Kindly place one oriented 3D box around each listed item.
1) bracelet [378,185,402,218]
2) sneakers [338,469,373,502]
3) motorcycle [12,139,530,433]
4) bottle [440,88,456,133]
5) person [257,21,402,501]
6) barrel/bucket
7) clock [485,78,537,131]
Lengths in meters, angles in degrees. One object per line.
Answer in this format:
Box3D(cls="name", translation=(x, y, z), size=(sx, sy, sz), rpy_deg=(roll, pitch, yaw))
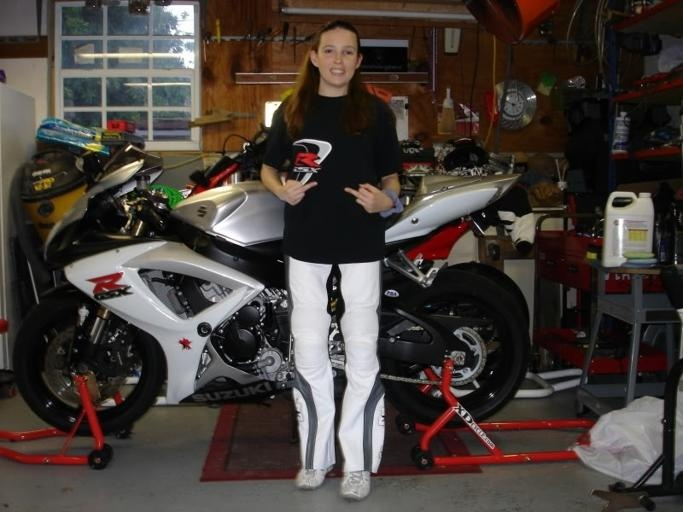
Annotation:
Box3D(cls="bracelet", translation=(0.219, -0.220, 2.314), size=(0.070, 0.114, 0.154), rpy_deg=(4, 9, 31))
Box3D(cls="sneakers", translation=(0.060, 0.931, 2.287), size=(0.136, 0.104, 0.083), rpy_deg=(-1, 8, -6))
Box3D(cls="motorcycle", translation=(0.049, 0.192, 3.240), size=(3.040, 1.479, 1.028), rpy_deg=(-1, 0, 0))
Box3D(cls="bottle", translation=(0.902, -1.238, 4.761), size=(0.157, 0.400, 0.076), rpy_deg=(-2, 8, -7))
Box3D(cls="person", translation=(-0.045, 0.010, 2.323), size=(0.588, 1.920, 0.406), rpy_deg=(0, 8, 5))
Box3D(cls="barrel/bucket", translation=(1.432, -0.132, 2.735), size=(0.235, 0.362, 0.269), rpy_deg=(7, 11, 44))
Box3D(cls="clock", translation=(1.494, -1.308, 4.828), size=(0.448, 0.437, 0.115), rpy_deg=(-3, 9, -19))
